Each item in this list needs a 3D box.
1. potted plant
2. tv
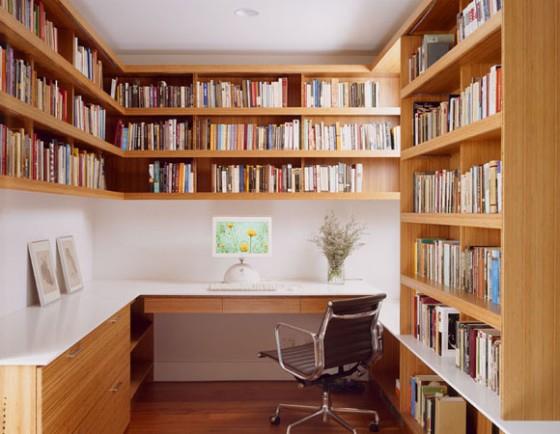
[{"bbox_3d":[0.494,0.285,4.634,0.354,0.536,0.374,2,5,42],"label":"potted plant"},{"bbox_3d":[-0.354,0.271,4.725,0.538,0.616,0.342,0,21,-4],"label":"tv"}]
